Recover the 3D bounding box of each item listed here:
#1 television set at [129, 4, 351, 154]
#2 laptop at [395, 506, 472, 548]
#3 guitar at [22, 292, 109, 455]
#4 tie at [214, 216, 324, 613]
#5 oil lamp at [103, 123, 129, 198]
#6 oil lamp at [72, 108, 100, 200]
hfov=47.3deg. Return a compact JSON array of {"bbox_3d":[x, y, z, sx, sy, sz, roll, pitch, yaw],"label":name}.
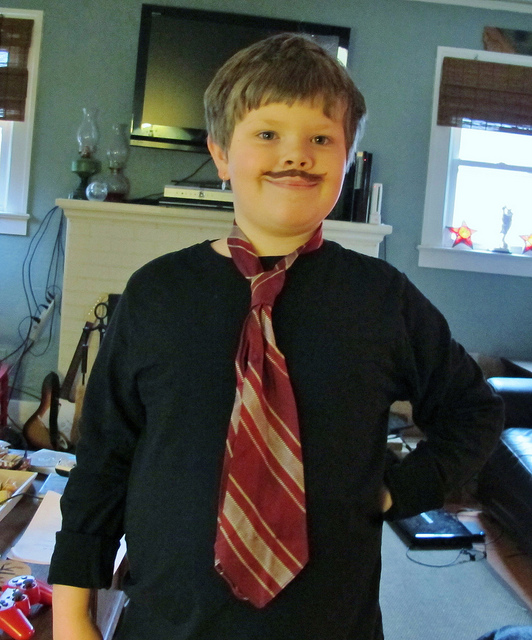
[{"bbox_3d":[-0.297,-1.117,2.826,0.632,0.642,0.155,2,10,-11],"label":"television set"},{"bbox_3d":[0.597,0.750,2.209,0.294,0.042,0.281,7,9,13],"label":"laptop"},{"bbox_3d":[-0.917,0.255,2.826,0.288,0.716,0.070,1,-26,36],"label":"guitar"},{"bbox_3d":[0.001,0.086,0.656,0.112,0.385,0.218,4,10,-3],"label":"tie"},{"bbox_3d":[-0.700,-0.760,2.871,0.113,0.363,0.212,3,10,-11],"label":"oil lamp"},{"bbox_3d":[-0.840,-0.786,2.847,0.121,0.439,0.285,2,10,-16],"label":"oil lamp"}]
